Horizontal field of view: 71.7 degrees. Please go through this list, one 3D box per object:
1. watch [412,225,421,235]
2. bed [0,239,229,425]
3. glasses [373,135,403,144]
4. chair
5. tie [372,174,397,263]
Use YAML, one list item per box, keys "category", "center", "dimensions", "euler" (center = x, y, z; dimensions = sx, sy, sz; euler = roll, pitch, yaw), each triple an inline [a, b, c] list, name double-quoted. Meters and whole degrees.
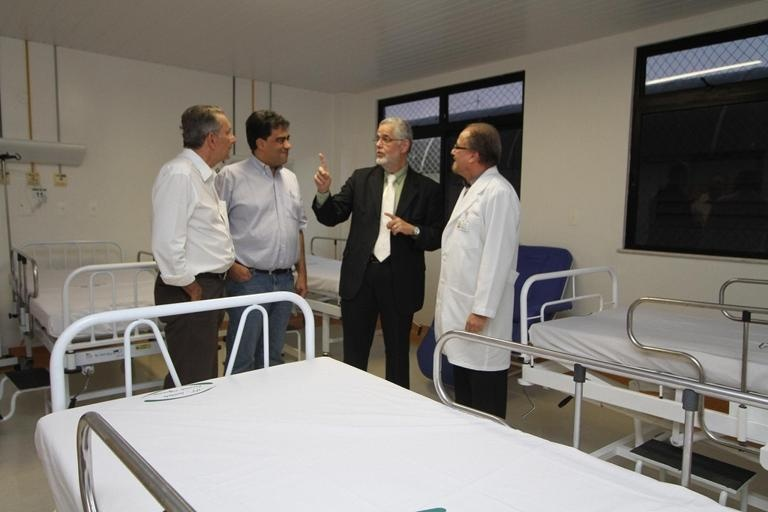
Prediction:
- category: "watch"
  center: [0.215, -0.174, 3.539]
  dimensions: [0.042, 0.056, 0.021]
  euler: [-6, -18, 10]
- category: "bed"
  center: [-2.514, 0.466, 4.390]
  dimensions: [1.543, 0.958, 1.755]
  euler: [0, 14, -37]
- category: "glasses"
  center: [0.026, -0.790, 3.609]
  dimensions: [0.231, 0.076, 0.108]
  euler: [4, 8, 28]
- category: "chair"
  center: [1.305, 0.521, 5.179]
  dimensions: [1.057, 1.001, 0.805]
  euler: [-19, 17, -29]
- category: "tie"
  center: [0.015, -0.267, 3.670]
  dimensions: [0.127, 0.587, 0.182]
  euler: [3, 7, 18]
